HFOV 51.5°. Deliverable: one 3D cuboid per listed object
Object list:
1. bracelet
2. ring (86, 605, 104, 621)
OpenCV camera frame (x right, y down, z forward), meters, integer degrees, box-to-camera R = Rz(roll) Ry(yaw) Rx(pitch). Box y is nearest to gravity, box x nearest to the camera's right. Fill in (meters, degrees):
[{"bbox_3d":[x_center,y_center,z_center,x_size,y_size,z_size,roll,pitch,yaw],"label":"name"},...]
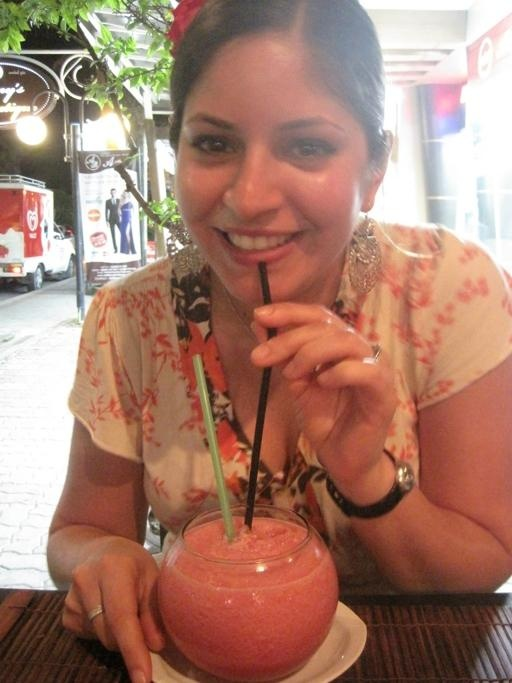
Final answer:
[{"bbox_3d":[0.226,0.284,1.011,0.134,0.142,0.071,6,15,24],"label":"bracelet"},{"bbox_3d":[-0.214,0.365,0.710,0.019,0.013,0.020,0,14,0],"label":"ring"}]
